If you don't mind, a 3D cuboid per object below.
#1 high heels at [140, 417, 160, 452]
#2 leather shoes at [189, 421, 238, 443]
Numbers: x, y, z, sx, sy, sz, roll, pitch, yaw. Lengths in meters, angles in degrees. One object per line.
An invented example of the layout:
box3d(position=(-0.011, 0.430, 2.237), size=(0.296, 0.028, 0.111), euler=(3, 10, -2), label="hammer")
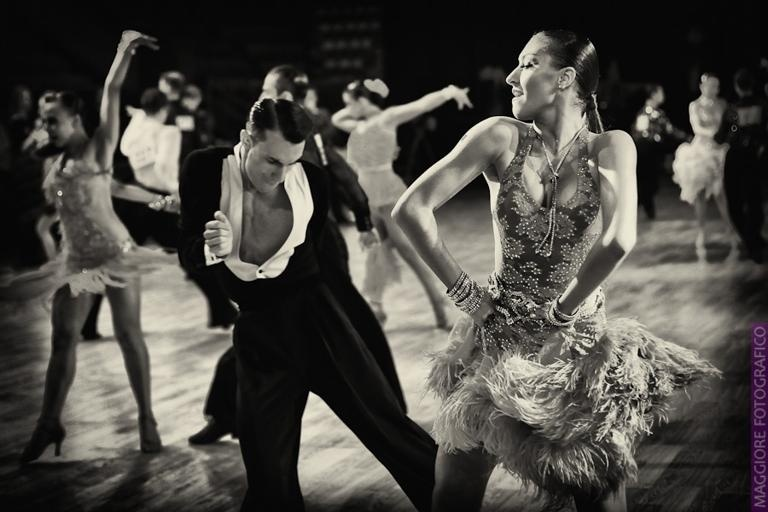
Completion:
box3d(position=(-1.559, 1.198, 6.398), size=(0.147, 0.243, 0.076), euler=(-3, 11, -14), label="high heels")
box3d(position=(-1.152, 1.185, 6.526), size=(0.399, 0.183, 0.142), euler=(-1, 12, 2), label="leather shoes")
